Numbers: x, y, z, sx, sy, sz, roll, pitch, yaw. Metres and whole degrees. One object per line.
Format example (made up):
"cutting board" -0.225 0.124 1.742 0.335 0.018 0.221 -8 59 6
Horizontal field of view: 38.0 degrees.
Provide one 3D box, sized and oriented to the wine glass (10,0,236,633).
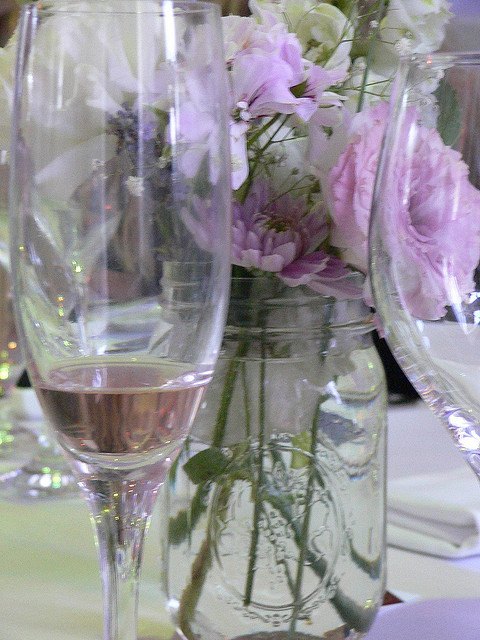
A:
"wine glass" -0.044 0.023 0.281 0.083 0.284 0.058 -1 15 9
